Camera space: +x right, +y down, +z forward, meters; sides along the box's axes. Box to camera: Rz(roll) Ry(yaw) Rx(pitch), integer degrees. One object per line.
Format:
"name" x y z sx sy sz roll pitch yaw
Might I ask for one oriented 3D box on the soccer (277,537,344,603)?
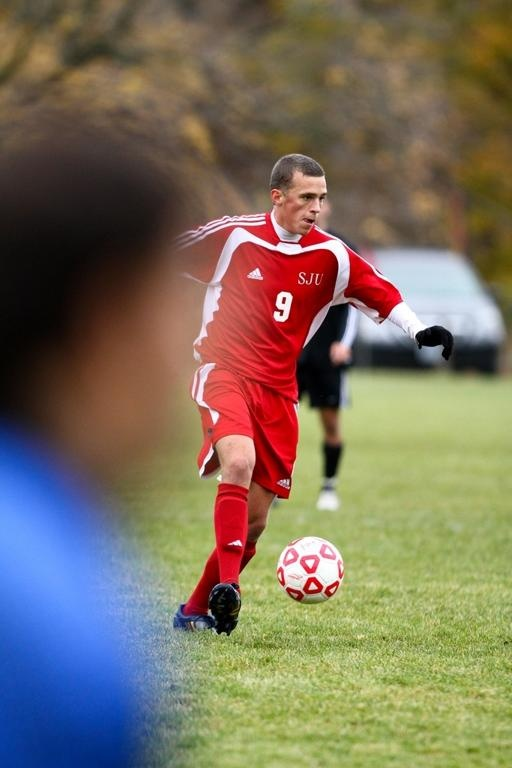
"soccer" 0.199 0.694 3.014 0.249 0.224 0.211 -6 2 11

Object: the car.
"car" 3.201 -1.364 15.045 2.305 1.548 3.523 0 -5 4
